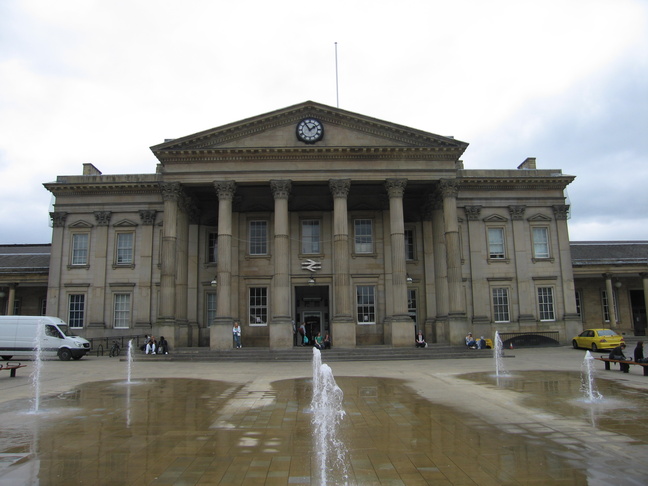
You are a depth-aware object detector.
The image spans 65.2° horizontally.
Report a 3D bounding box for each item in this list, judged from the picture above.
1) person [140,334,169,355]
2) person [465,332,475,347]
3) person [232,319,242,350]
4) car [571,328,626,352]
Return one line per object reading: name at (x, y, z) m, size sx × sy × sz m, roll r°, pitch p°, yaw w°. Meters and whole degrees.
person at (-10.508, 6.359, 31.756) m, size 1.636 × 1.046 × 1.483 m, roll -1°, pitch -6°, yaw 4°
person at (9.095, 6.146, 32.157) m, size 0.524 × 0.804 × 1.135 m, roll -1°, pitch -6°, yaw 3°
person at (-5.642, 5.891, 32.556) m, size 0.480 × 1.517 × 1.492 m, roll 1°, pitch -6°, yaw -7°
car at (17.706, 6.275, 32.730) m, size 1.616 × 1.387 × 3.263 m, roll 0°, pitch -6°, yaw 0°
